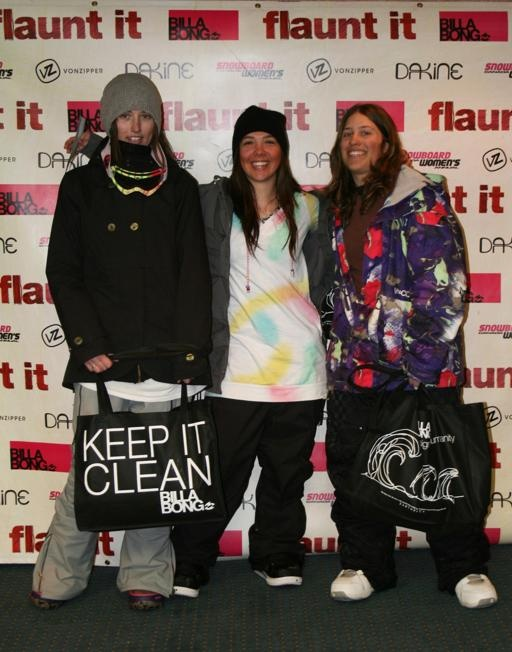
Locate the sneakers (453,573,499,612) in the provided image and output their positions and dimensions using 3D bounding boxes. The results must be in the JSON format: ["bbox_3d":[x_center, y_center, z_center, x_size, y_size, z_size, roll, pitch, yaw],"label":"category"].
[{"bbox_3d":[0.766,0.914,2.038,0.152,0.104,0.144,-1,0,10],"label":"sneakers"}]

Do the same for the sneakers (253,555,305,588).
[{"bbox_3d":[0.091,0.922,2.258,0.088,0.076,0.195,1,-1,-26],"label":"sneakers"}]

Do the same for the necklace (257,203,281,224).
[{"bbox_3d":[0.050,-0.400,2.142,0.074,0.019,0.055,-41,39,-3],"label":"necklace"}]

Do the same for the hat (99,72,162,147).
[{"bbox_3d":[-0.432,-0.754,2.045,0.189,0.188,0.230,-2,11,-14],"label":"hat"}]

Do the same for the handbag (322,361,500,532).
[{"bbox_3d":[0.516,0.427,1.925,0.446,0.438,0.176,-1,0,8],"label":"handbag"}]
